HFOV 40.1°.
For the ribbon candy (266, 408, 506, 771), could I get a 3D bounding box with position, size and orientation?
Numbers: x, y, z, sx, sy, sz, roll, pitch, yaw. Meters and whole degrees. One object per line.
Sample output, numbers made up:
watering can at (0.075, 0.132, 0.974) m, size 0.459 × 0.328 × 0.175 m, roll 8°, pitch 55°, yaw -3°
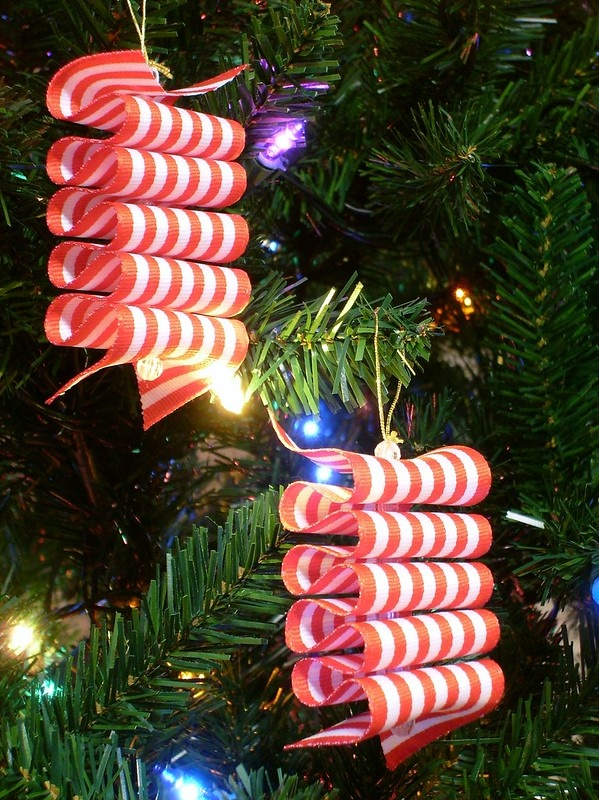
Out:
ribbon candy at (0.063, 0.120, 0.553) m, size 0.148 × 0.208 × 0.219 m, roll -4°, pitch 77°, yaw -1°
